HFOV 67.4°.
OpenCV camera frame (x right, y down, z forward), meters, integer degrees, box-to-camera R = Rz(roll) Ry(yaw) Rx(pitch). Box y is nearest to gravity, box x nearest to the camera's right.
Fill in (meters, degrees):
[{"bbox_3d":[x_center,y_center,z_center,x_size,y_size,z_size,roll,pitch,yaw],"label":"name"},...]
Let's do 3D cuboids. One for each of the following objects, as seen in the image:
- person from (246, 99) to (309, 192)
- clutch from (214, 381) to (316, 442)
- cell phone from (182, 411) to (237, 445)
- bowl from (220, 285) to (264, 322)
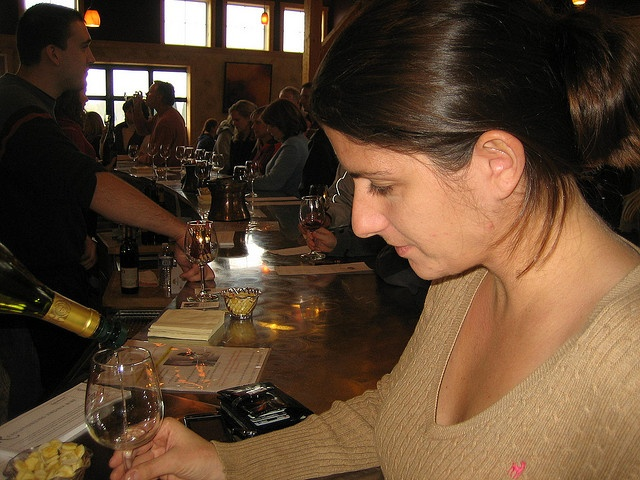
[{"bbox_3d":[-0.507,-1.141,5.836,0.791,0.971,1.159,-5,19,-9],"label":"person"},{"bbox_3d":[-0.155,0.438,1.268,0.264,0.060,0.250,10,11,-13],"label":"clutch"},{"bbox_3d":[-0.288,0.465,1.219,0.087,0.023,0.086,12,13,-31],"label":"cell phone"},{"bbox_3d":[-0.300,0.235,1.755,0.154,0.086,0.162,0,-13,0],"label":"bowl"}]
